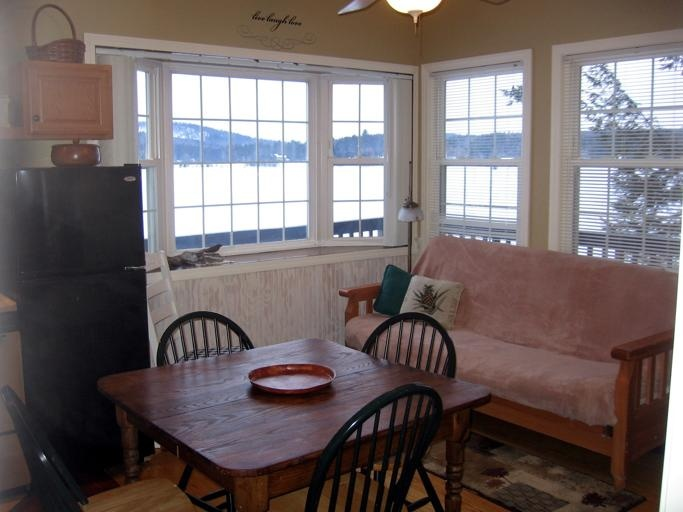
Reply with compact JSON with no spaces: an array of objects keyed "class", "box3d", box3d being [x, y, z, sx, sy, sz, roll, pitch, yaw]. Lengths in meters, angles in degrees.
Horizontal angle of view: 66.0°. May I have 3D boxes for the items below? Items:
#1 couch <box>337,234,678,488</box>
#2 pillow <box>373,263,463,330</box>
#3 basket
[{"class":"couch","box3d":[1.063,0.613,3.071,0.715,0.670,1.437,-7,11,-33]},{"class":"pillow","box3d":[0.598,0.333,4.159,0.674,0.394,0.202,10,-10,44]},{"class":"basket","box3d":[-1.759,-1.359,3.181,0.304,0.410,0.497,-7,15,-28]}]
